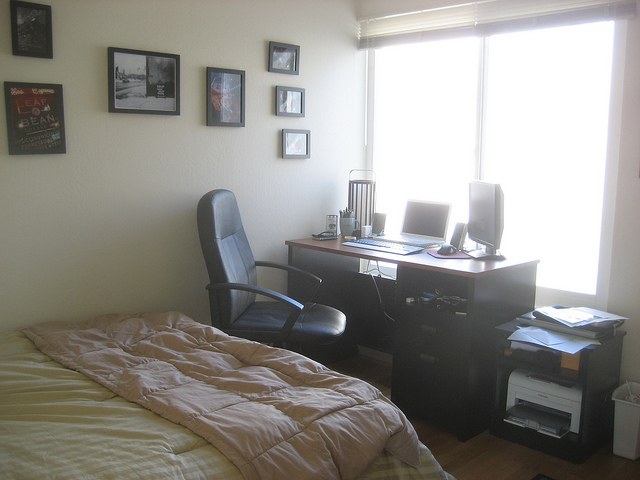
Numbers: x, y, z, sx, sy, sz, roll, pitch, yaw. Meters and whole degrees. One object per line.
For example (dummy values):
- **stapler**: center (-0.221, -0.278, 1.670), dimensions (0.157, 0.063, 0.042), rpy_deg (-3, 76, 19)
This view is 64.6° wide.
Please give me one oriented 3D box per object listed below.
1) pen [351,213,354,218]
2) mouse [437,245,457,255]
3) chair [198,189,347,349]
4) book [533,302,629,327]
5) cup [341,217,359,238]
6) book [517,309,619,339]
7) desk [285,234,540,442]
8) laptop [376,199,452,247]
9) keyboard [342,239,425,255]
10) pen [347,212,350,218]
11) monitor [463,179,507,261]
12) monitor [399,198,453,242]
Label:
- **pen**: center (0.262, -0.194, 3.934), dimensions (0.027, 0.034, 0.036), rpy_deg (3, 9, 22)
- **mouse**: center (0.854, 0.064, 3.390), dimensions (0.120, 0.054, 0.071), rpy_deg (-6, 15, -33)
- **chair**: center (-0.325, 0.101, 3.699), dimensions (1.068, 1.491, 0.957), rpy_deg (1, 8, 14)
- **book**: center (1.542, 0.451, 2.994), dimensions (0.230, 0.053, 0.218), rpy_deg (-4, 7, -31)
- **cup**: center (0.230, -0.105, 3.989), dimensions (0.166, 0.150, 0.105), rpy_deg (3, 7, 10)
- **book**: center (1.425, 0.505, 2.953), dimensions (0.259, 0.052, 0.265), rpy_deg (9, 11, 44)
- **desk**: center (0.596, 0.603, 3.723), dimensions (0.858, 1.041, 1.537), rpy_deg (-5, 9, -43)
- **laptop**: center (0.685, -0.119, 3.729), dimensions (0.371, 0.296, 0.452), rpy_deg (-12, 15, -37)
- **keyboard**: center (0.457, 0.042, 3.610), dimensions (0.529, 0.029, 0.336), rpy_deg (13, 16, 41)
- **pen**: center (0.229, -0.191, 3.915), dimensions (0.013, 0.032, 0.020), rpy_deg (2, 13, 3)
- **monitor**: center (1.104, -0.150, 3.372), dimensions (0.199, 0.486, 0.400), rpy_deg (-4, 12, -8)
- **monitor**: center (0.797, -0.147, 3.788), dimensions (0.126, 0.292, 0.382), rpy_deg (-1, 10, -37)
